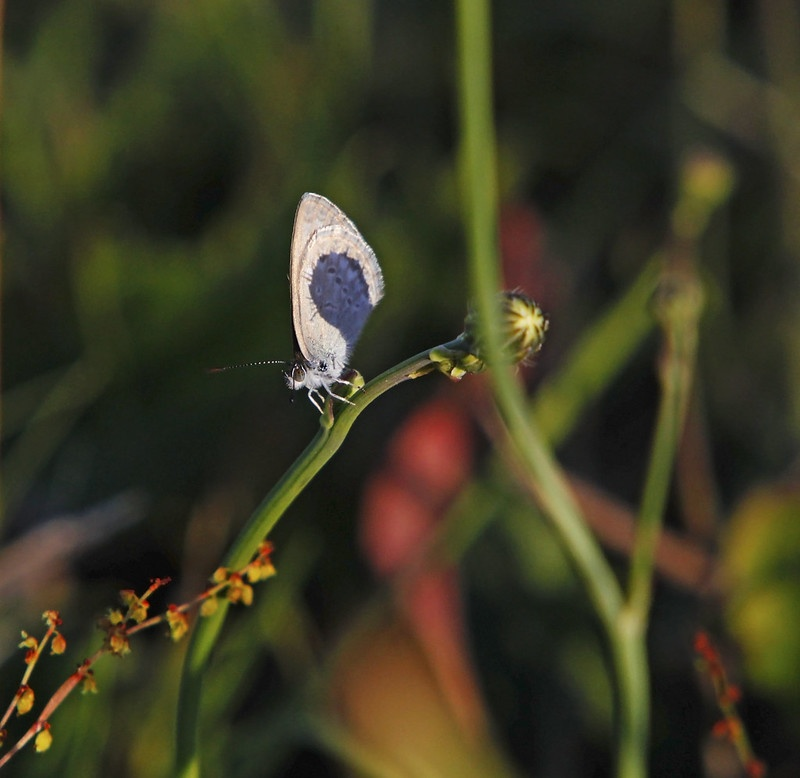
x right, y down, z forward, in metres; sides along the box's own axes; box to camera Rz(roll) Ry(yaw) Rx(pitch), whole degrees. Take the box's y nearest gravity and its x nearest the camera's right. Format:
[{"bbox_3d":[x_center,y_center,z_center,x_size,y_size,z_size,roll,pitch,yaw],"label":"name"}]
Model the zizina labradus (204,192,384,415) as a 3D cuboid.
[{"bbox_3d":[-0.090,-0.062,1.061,0.112,0.192,0.223,-12,-17,-23],"label":"zizina labradus"}]
